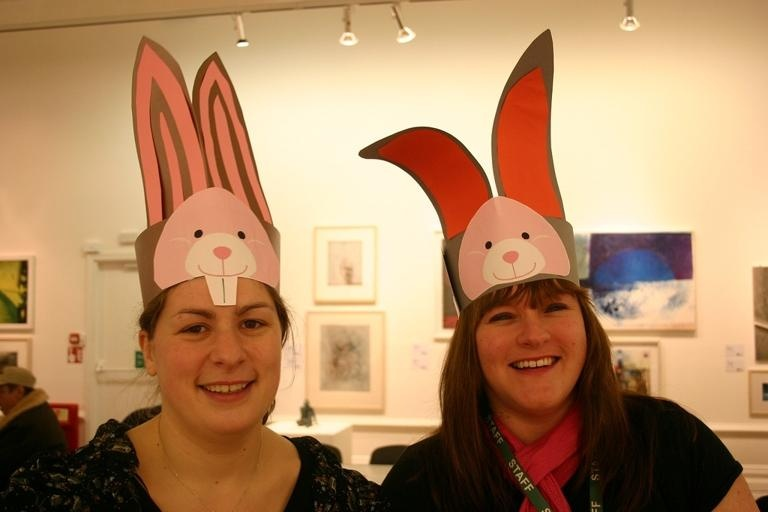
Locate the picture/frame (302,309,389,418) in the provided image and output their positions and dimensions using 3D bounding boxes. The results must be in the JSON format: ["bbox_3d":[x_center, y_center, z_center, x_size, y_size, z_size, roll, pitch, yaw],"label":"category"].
[{"bbox_3d":[-0.314,1.002,6.583,0.944,1.194,0.086,0,0,6],"label":"picture/frame"}]

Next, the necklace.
[{"bbox_3d":[-0.797,0.938,3.280,0.412,0.427,0.104,-7,6,-13],"label":"necklace"}]

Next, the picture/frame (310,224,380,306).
[{"bbox_3d":[-0.321,0.072,6.608,0.713,0.842,0.063,0,2,5],"label":"picture/frame"}]
